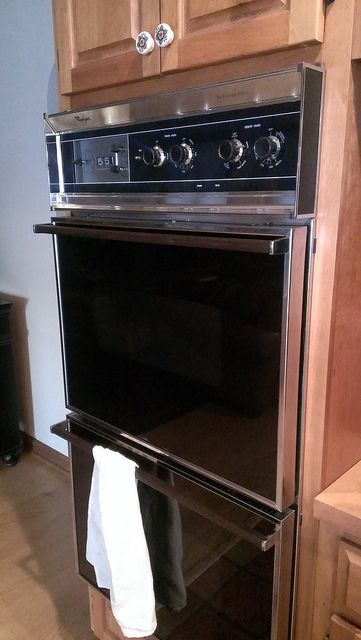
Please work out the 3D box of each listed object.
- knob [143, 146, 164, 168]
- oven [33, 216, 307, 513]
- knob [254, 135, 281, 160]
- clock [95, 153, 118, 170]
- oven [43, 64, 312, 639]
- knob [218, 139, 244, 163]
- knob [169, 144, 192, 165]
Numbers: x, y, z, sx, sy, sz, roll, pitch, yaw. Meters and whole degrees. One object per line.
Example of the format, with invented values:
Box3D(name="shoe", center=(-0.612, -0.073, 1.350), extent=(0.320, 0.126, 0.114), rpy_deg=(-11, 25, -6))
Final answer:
Box3D(name="knob", center=(-0.044, -0.268, 0.774), extent=(0.022, 0.047, 0.043), rpy_deg=(-8, 13, -36))
Box3D(name="oven", center=(0.011, 0.015, 0.916), extent=(0.547, 0.447, 0.294), rpy_deg=(11, 20, 35))
Box3D(name="knob", center=(0.112, -0.221, 0.603), extent=(0.018, 0.037, 0.034), rpy_deg=(-1, 8, -42))
Box3D(name="clock", center=(-0.145, -0.306, 0.906), extent=(0.011, 0.029, 0.049), rpy_deg=(-13, 16, -38))
Box3D(name="oven", center=(-0.059, 0.174, 0.906), extent=(0.222, 1.124, 0.642), rpy_deg=(-14, 23, -31))
Box3D(name="knob", center=(0.069, -0.233, 0.645), extent=(0.024, 0.039, 0.036), rpy_deg=(-1, 5, -35))
Box3D(name="knob", center=(0.000, -0.256, 0.729), extent=(0.028, 0.030, 0.023), rpy_deg=(-17, 24, -35))
